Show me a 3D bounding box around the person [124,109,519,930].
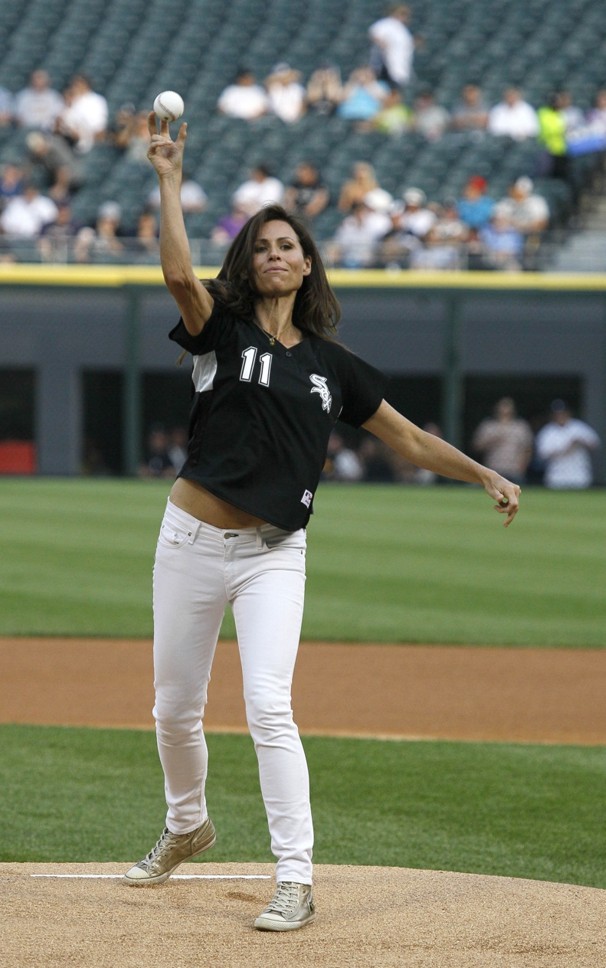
[{"bbox_3d":[-0.173,0.083,4.331,0.707,2.274,0.777,2,5,27],"label":"person"}]

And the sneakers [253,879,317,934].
[{"bbox_3d":[-0.046,1.125,4.023,0.074,0.090,0.211,3,-6,22],"label":"sneakers"}]
